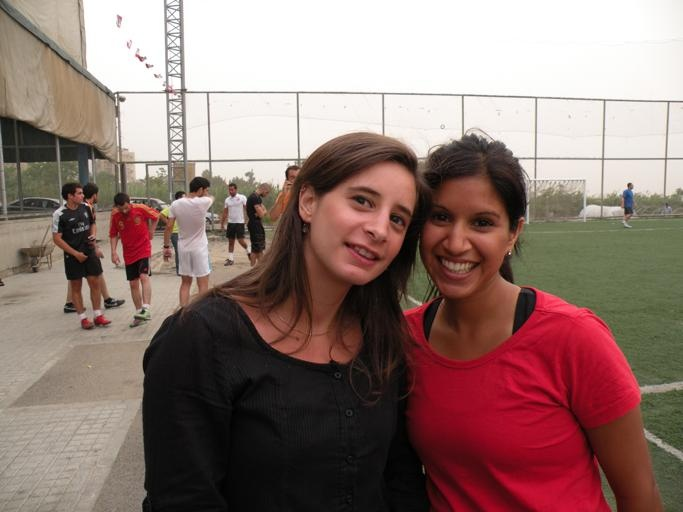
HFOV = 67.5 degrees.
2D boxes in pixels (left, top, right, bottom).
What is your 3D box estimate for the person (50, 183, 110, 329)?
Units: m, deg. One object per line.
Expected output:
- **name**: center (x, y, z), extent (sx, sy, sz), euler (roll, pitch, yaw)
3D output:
- **person**: center (-3.608, -0.047, 6.972), extent (0.577, 1.905, 1.113), euler (-5, 9, -30)
